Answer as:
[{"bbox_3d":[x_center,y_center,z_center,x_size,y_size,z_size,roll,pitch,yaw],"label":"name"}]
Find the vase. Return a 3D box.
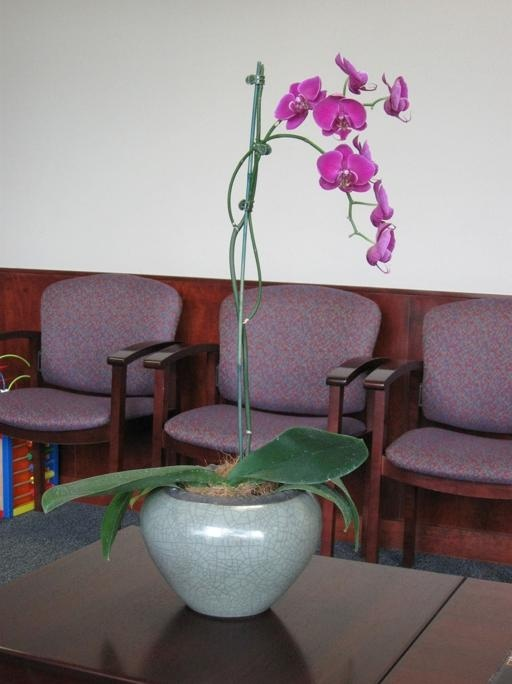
[{"bbox_3d":[-0.029,0.233,0.696,0.222,0.137,0.213,8,-15,-28],"label":"vase"}]
